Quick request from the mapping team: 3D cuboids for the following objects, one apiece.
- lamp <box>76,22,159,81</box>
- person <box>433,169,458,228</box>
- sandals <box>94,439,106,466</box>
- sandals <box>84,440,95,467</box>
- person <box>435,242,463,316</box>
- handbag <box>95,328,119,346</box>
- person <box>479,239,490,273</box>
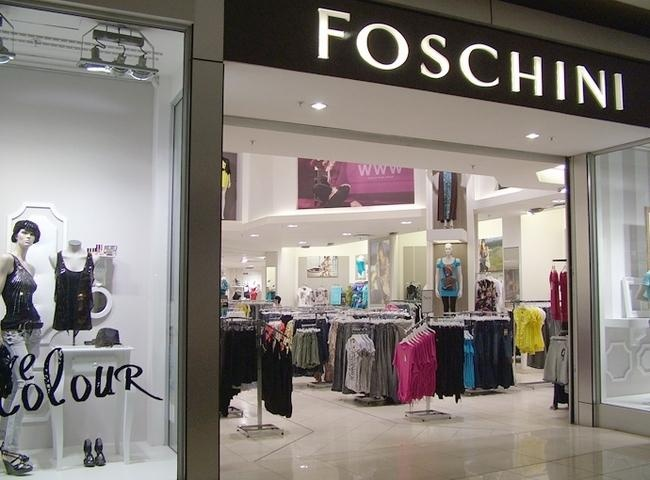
[{"bbox_3d":[-1.537,-1.420,3.743,0.499,0.375,0.187,-1,-4,-33],"label":"lamp"},{"bbox_3d":[2.974,-1.168,12.119,0.400,1.846,0.191,5,-34,6],"label":"person"},{"bbox_3d":[-1.576,1.489,3.535,0.064,0.198,0.046,1,1,-31],"label":"sandals"},{"bbox_3d":[-1.648,1.486,3.503,0.062,0.195,0.048,5,-9,-42],"label":"sandals"},{"bbox_3d":[2.804,0.855,11.375,0.593,1.519,0.802,-1,-5,13],"label":"person"},{"bbox_3d":[-1.579,0.709,3.639,0.131,0.141,0.124,2,-5,-12],"label":"handbag"},{"bbox_3d":[4.672,0.431,14.674,0.256,0.973,0.507,-4,-6,37],"label":"person"}]
